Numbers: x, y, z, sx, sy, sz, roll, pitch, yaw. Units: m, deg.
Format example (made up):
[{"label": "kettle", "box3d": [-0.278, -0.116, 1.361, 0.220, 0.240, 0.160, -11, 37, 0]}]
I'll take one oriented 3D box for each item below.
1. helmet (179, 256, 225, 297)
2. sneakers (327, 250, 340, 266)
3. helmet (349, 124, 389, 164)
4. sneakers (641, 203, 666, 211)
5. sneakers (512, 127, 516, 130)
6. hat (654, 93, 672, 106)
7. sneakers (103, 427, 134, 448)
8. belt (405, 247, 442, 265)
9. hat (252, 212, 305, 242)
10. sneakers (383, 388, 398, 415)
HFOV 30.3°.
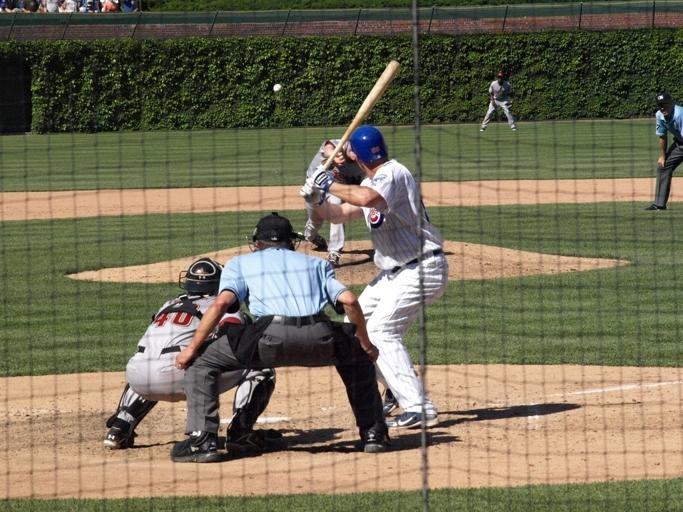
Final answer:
[{"label": "helmet", "box3d": [-1.923, 0.262, 17.435, 0.497, 0.399, 0.603, 9, 16, -2]}, {"label": "sneakers", "box3d": [-0.121, 0.051, 22.223, 0.282, 0.232, 0.190, 0, 7, 12]}, {"label": "helmet", "box3d": [0.369, -1.507, 17.173, 0.443, 0.291, 0.561, -13, 47, -14]}, {"label": "sneakers", "box3d": [6.212, -0.947, 25.060, 0.453, 0.149, 0.142, 3, 3, 1]}, {"label": "sneakers", "box3d": [5.003, -3.634, 36.550, 0.123, 0.123, 0.343, 1, 8, 12]}, {"label": "hat", "box3d": [6.270, -3.007, 24.552, 0.254, 0.234, 0.342, -1, -5, 35]}, {"label": "sneakers", "box3d": [-3.033, 2.458, 17.124, 0.444, 0.174, 0.220, -10, 31, -32]}, {"label": "belt", "box3d": [1.169, -0.004, 17.067, 0.300, 0.069, 0.308, -25, -1, -30]}, {"label": "hat", "box3d": [-0.951, -0.410, 19.180, 0.736, 0.363, 0.929, 0, 3, 1]}, {"label": "sneakers", "box3d": [0.677, 2.044, 17.827, 0.169, 0.422, 0.191, -13, -43, 36]}]
